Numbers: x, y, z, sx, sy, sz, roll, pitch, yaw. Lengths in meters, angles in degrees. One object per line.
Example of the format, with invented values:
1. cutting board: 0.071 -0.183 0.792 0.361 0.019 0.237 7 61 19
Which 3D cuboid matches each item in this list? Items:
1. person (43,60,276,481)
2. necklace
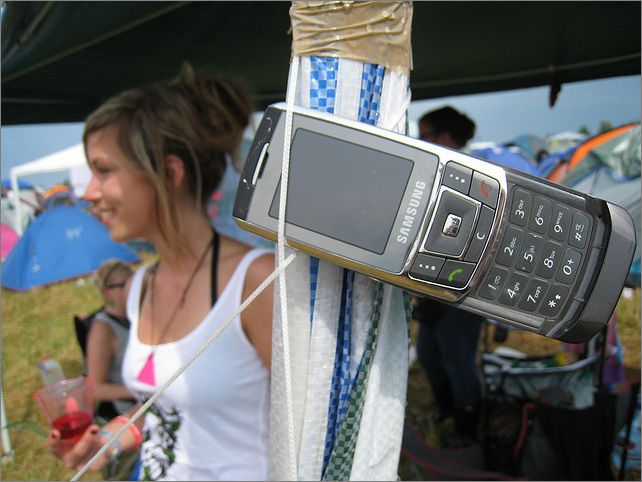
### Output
1. person: -0.403 0.123 1.589 0.561 1.176 0.333 3 8 -7
2. necklace: -0.369 0.172 1.560 0.150 0.353 0.065 13 1 12
